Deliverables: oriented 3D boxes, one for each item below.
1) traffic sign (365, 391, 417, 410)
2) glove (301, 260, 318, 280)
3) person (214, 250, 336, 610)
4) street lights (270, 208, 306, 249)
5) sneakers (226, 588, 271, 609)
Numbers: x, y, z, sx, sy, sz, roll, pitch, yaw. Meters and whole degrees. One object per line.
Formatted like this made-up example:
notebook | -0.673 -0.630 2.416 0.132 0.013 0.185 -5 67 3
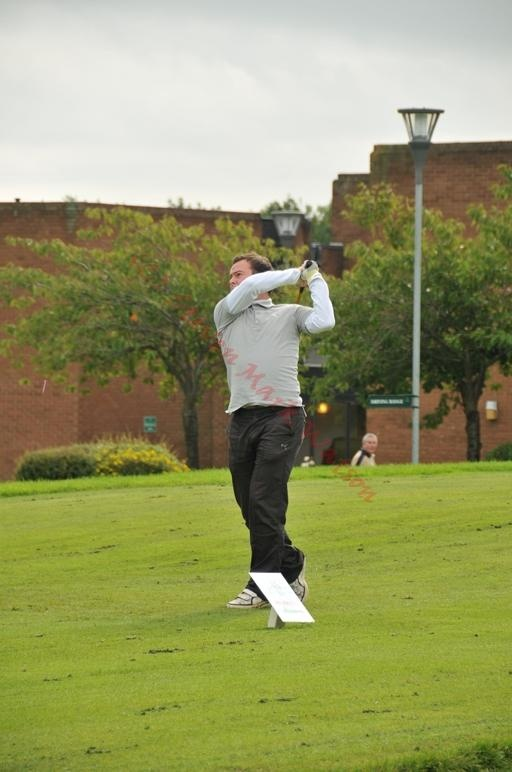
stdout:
traffic sign | 1.517 0.188 23.980 0.448 0.138 0.823 -2 0 17
glove | 0.289 -0.617 11.580 0.072 0.115 0.040 23 -1 -23
person | 0.095 0.235 11.432 0.608 2.114 0.595 3 -23 -10
street lights | 0.412 -2.087 28.387 0.405 0.456 0.908 -1 0 1
sneakers | -0.046 1.136 11.226 0.223 0.128 0.090 5 -6 -1
